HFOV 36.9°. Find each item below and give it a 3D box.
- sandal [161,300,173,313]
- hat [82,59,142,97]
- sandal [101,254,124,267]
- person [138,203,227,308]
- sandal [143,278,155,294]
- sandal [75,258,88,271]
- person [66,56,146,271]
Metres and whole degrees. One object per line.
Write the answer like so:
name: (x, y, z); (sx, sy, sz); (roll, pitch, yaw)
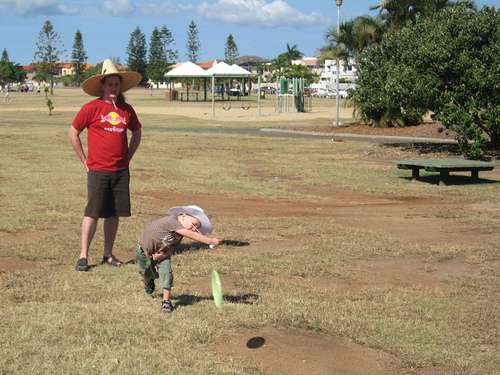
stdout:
sandal: (-1.184, 1.678, 10.686); (0.168, 0.141, 0.205); (0, 11, -7)
hat: (-2.300, -1.827, 12.455); (0.729, 0.609, 0.941); (7, 12, 27)
sandal: (-2.244, 1.192, 12.241); (0.327, 0.143, 0.158); (0, 2, 25)
person: (-1.075, 0.935, 10.912); (1.540, 1.416, 0.831); (12, 3, 37)
sandal: (-1.505, 1.465, 11.186); (0.092, 0.268, 0.116); (-1, 8, 20)
sandal: (-2.708, 1.206, 12.025); (0.200, 0.171, 0.319); (-1, 11, -14)
person: (-2.342, -0.412, 12.200); (1.252, 3.295, 0.936); (-6, 13, -36)
